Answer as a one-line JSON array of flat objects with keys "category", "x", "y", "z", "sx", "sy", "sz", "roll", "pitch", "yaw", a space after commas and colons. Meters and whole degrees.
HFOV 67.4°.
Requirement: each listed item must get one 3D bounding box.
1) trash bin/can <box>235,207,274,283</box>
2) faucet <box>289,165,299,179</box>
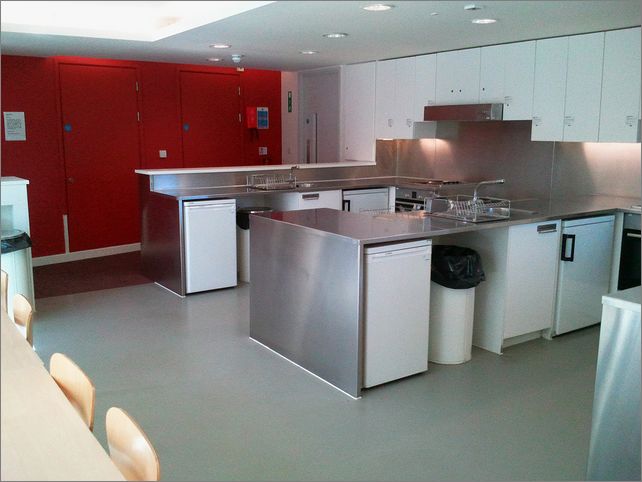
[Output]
[{"category": "trash bin/can", "x": -0.940, "y": 0.045, "z": 6.335, "sx": 0.361, "sy": 0.907, "sz": 0.530, "roll": 2, "pitch": 15, "yaw": 19}, {"category": "faucet", "x": -0.378, "y": -0.963, "z": 6.832, "sx": 0.126, "sy": 0.213, "sz": 0.210, "roll": -4, "pitch": 14, "yaw": -3}]
